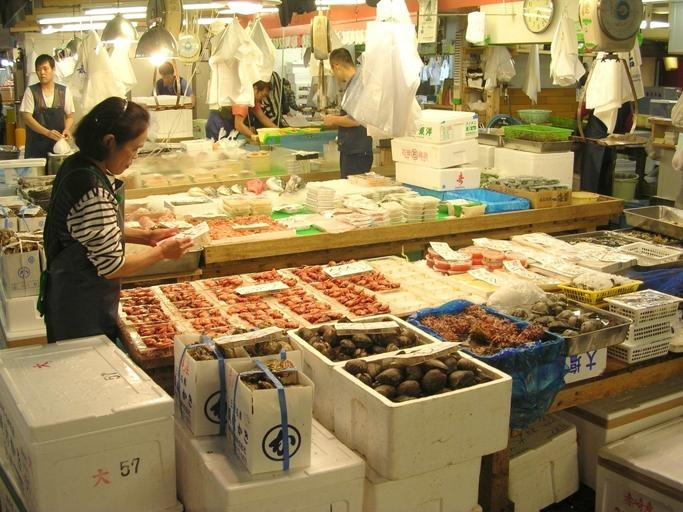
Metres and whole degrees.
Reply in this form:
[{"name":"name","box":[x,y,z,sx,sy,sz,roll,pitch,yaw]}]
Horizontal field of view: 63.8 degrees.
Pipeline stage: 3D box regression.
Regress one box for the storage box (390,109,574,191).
[{"name":"storage box","box":[1.381,-1.109,6.124,2.046,0.841,1.190,13,19,39]}]

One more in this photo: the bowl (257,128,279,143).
[{"name":"bowl","box":[-0.963,-1.580,7.193,0.278,0.182,0.333,-4,15,-8]}]

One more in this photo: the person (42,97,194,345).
[{"name":"person","box":[-1.219,-0.118,2.851,0.679,1.355,0.493,-15,21,-39]}]

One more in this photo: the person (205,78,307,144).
[{"name":"person","box":[-1.439,-2.235,8.092,0.921,1.003,2.407,-1,15,3]}]

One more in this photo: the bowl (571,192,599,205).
[{"name":"bowl","box":[2.698,-0.642,6.054,0.253,0.084,0.230,4,15,30]}]

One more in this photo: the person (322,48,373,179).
[{"name":"person","box":[0.079,-1.707,6.625,0.558,1.529,0.874,-1,16,2]}]

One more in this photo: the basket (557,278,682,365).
[{"name":"basket","box":[1.571,0.362,3.105,0.749,0.225,0.455,-7,14,-26]}]
